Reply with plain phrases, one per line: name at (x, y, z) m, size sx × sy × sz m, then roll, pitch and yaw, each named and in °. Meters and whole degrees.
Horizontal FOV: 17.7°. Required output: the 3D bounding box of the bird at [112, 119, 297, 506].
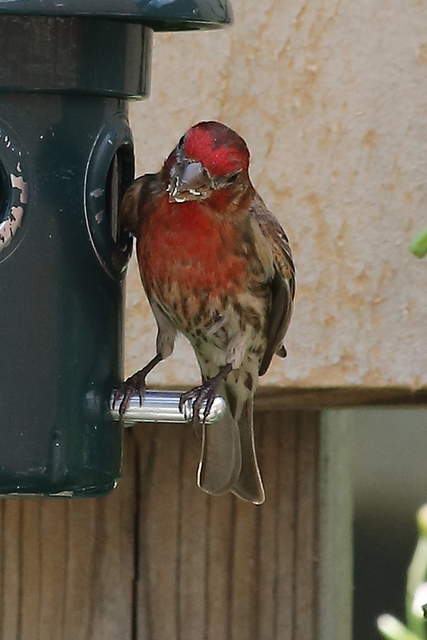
bird at (-0.002, -0.068, 3.140) m, size 0.333 × 0.549 × 1.048 m, roll -3°, pitch 104°, yaw -10°
